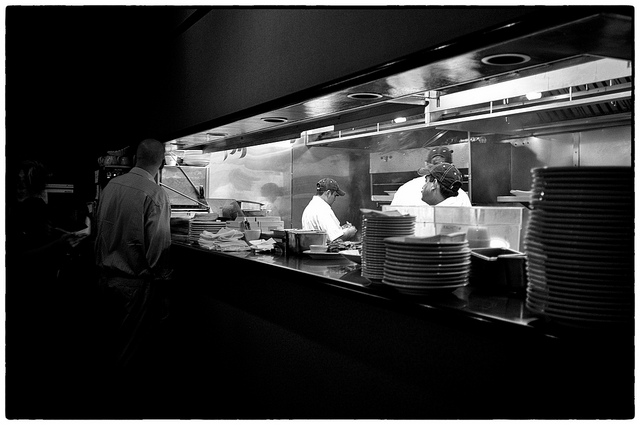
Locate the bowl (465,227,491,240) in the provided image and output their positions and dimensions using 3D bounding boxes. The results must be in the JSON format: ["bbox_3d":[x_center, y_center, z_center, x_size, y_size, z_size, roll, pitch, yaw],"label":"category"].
[{"bbox_3d":[0.845,0.107,2.544,0.088,0.065,0.082,1,-3,0],"label":"bowl"}]
